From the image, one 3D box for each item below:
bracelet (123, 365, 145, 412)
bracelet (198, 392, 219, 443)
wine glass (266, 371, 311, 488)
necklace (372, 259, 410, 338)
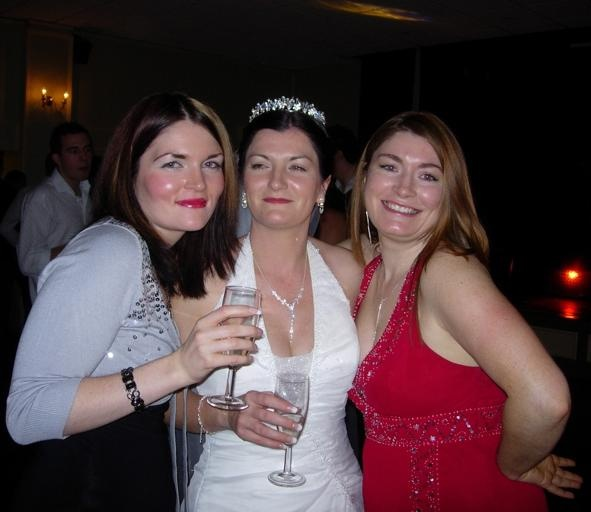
[{"bbox_3d":[-0.512,0.420,1.578,0.071,0.119,0.114,-17,-23,-15],"label":"bracelet"},{"bbox_3d":[-0.409,0.752,2.255,0.056,0.208,0.127,1,-14,10],"label":"bracelet"},{"bbox_3d":[-0.031,0.731,2.027,0.166,0.579,0.324,2,8,0],"label":"wine glass"},{"bbox_3d":[0.421,0.187,2.342,0.111,0.402,0.010,7,-16,29],"label":"necklace"}]
